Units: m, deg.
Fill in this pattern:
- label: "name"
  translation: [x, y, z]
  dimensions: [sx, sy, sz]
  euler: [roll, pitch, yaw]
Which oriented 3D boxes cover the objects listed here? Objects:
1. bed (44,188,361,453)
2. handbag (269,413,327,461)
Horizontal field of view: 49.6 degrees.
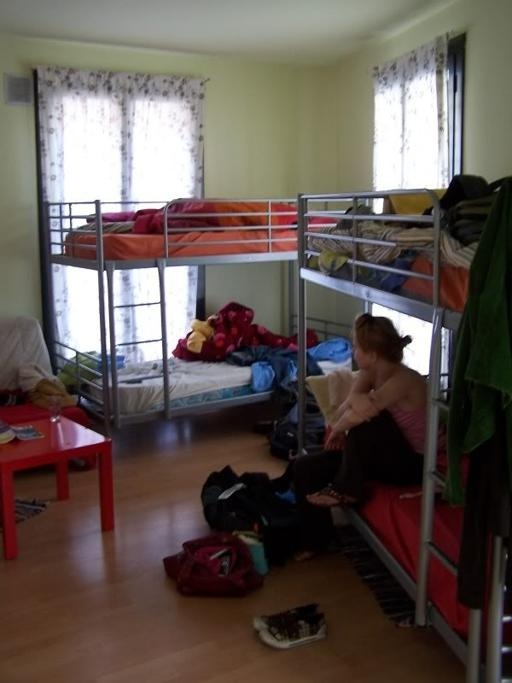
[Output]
- label: "bed"
  translation: [-0.524, -0.181, 3.738]
  dimensions: [0.930, 1.601, 1.599]
  euler: [-13, 16, -41]
- label: "handbag"
  translation: [0.289, 0.530, 3.368]
  dimensions: [0.332, 0.113, 0.252]
  euler: [-8, 26, -18]
